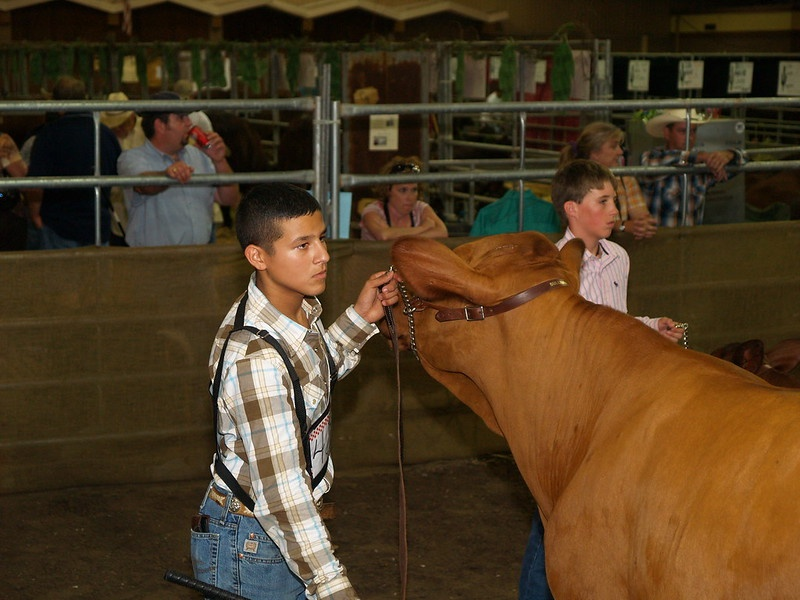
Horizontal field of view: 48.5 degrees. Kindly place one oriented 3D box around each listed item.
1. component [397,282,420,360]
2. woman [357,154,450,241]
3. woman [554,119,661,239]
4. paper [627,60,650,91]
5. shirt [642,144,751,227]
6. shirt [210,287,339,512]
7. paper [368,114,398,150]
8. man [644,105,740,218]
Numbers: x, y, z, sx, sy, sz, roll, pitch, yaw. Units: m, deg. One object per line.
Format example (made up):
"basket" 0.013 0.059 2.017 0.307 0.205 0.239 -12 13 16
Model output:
"component" 0.034 0.072 3.135 0.031 0.285 0.058 3 -31 -28
"woman" -0.005 -0.713 6.375 0.617 0.614 0.552 5 12 37
"woman" 1.454 -0.830 6.154 0.803 0.761 0.598 20 35 39
"paper" 3.050 -2.869 11.292 0.240 0.400 0.424 1 10 17
"shirt" 2.072 -0.829 6.357 0.679 0.553 0.434 10 0 20
"shirt" -0.476 0.384 3.009 0.417 0.504 0.300 0 14 6
"paper" -0.164 -1.700 9.090 0.322 0.353 0.223 -3 10 -2
"man" 2.064 -0.750 6.322 0.675 1.173 0.609 5 25 19
